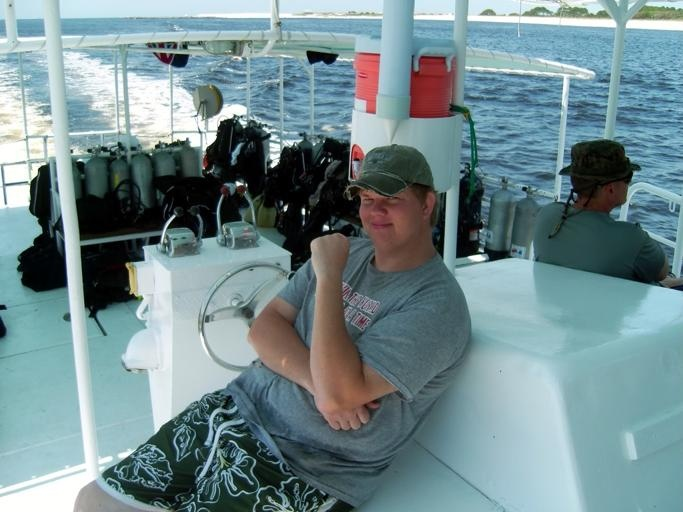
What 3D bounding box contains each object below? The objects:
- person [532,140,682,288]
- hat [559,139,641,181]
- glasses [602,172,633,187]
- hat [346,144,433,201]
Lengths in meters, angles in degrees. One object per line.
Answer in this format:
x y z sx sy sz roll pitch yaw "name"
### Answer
1.659 -0.260 3.374 0.838 0.923 0.532 7 17 22 "person"
1.677 -0.650 3.485 0.503 0.190 0.460 -6 23 13 "hat"
1.764 -0.510 3.414 0.153 0.060 0.109 -9 4 -9 "glasses"
0.227 -0.417 2.515 0.344 0.240 0.487 11 14 43 "hat"
